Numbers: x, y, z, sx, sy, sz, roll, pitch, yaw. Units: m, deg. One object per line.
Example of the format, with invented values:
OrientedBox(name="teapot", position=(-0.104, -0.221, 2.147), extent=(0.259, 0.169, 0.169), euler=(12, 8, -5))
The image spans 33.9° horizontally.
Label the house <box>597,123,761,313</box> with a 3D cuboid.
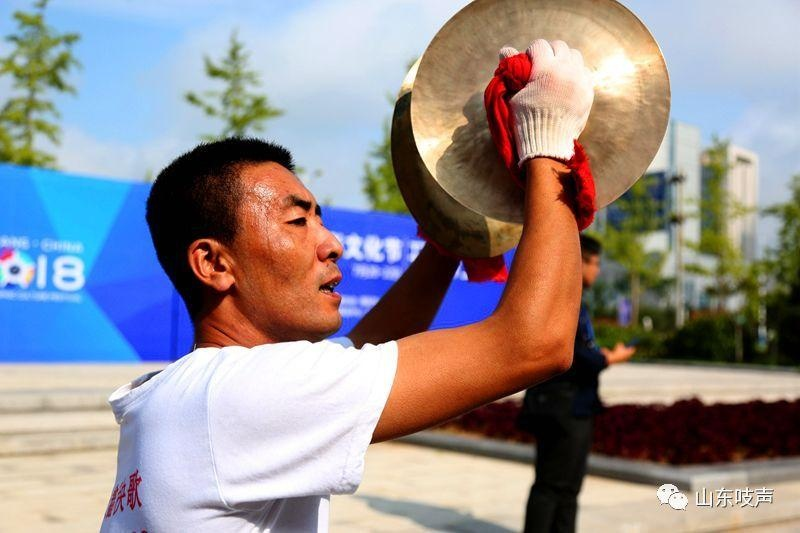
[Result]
OrientedBox(name="house", position=(2.375, -0.380, 11.194), extent=(1.199, 2.338, 1.255), euler=(5, -15, 0))
